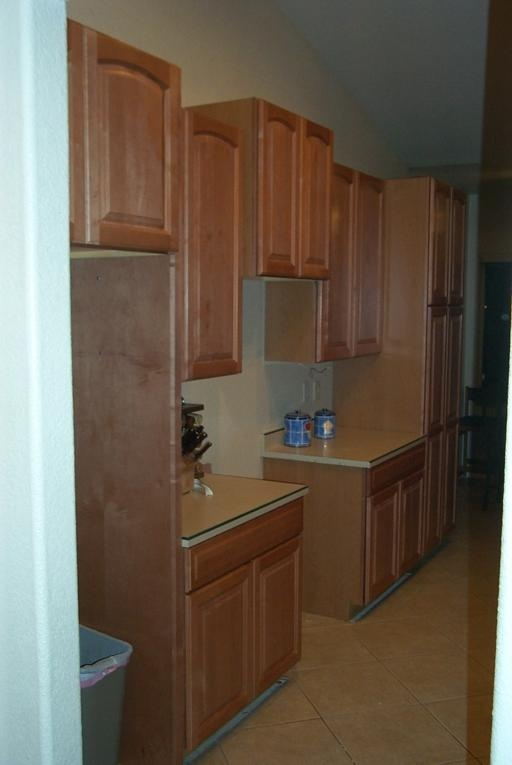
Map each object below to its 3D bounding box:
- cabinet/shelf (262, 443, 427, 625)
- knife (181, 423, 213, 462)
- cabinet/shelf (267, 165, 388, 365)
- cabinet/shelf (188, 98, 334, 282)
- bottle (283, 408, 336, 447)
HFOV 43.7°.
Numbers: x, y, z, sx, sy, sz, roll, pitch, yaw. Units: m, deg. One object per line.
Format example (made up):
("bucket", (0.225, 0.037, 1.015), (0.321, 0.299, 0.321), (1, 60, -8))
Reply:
("cabinet/shelf", (0.488, 0.602, 3.364), (0.578, 1.028, 1.098), (0, 3, 26))
("knife", (-0.206, 0.213, 2.083), (0.036, 0.116, 0.107), (17, -28, -16))
("cabinet/shelf", (0.312, -0.529, 2.870), (0.377, 1.208, 0.945), (1, 2, 23))
("cabinet/shelf", (0.065, -0.713, 2.488), (0.286, 0.597, 0.547), (6, 10, 38))
("bottle", (0.254, 0.218, 3.255), (0.173, 0.170, 0.379), (2, 4, 36))
